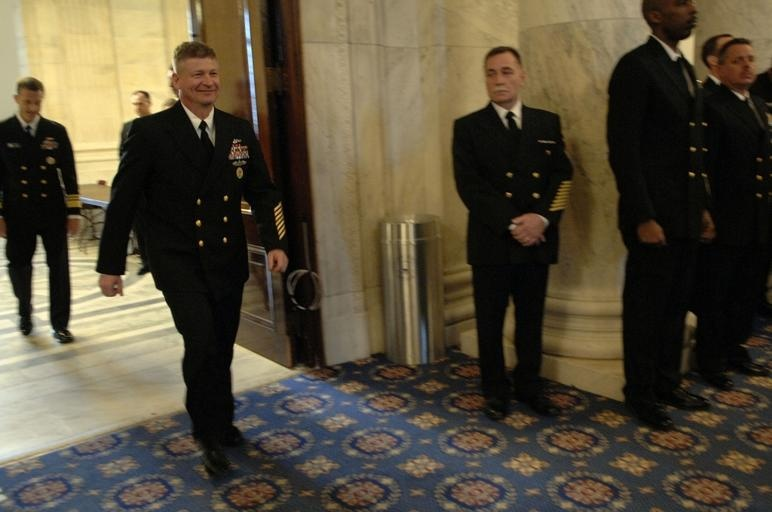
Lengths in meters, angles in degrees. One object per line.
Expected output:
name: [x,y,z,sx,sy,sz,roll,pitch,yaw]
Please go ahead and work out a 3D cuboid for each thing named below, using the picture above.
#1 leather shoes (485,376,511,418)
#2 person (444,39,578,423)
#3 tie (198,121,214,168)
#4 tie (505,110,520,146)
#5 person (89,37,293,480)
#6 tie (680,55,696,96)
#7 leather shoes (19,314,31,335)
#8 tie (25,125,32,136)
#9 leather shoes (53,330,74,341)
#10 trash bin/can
leather shoes: [0.653,0.849,3.434,0.111,0.108,0.292,-3,7,11]
person: [0.737,-0.122,3.395,0.668,2.076,0.620,-2,19,6]
tie: [-0.901,-0.568,3.003,0.067,0.233,0.071,-6,4,-4]
tie: [0.723,-0.728,3.372,0.078,0.192,0.081,-2,19,6]
person: [-0.963,0.003,3.126,0.623,2.158,0.789,9,23,33]
tie: [1.565,-0.937,3.078,0.046,0.218,0.027,-10,6,25]
leather shoes: [-3.082,0.602,5.133,0.082,0.187,0.084,3,14,-7]
tie: [-2.861,-1.019,4.783,0.024,0.085,0.053,13,25,40]
leather shoes: [-2.678,0.670,4.990,0.218,0.077,0.076,7,14,28]
trash bin/can: [0.203,0.258,4.221,0.414,1.007,0.378,-3,19,2]
